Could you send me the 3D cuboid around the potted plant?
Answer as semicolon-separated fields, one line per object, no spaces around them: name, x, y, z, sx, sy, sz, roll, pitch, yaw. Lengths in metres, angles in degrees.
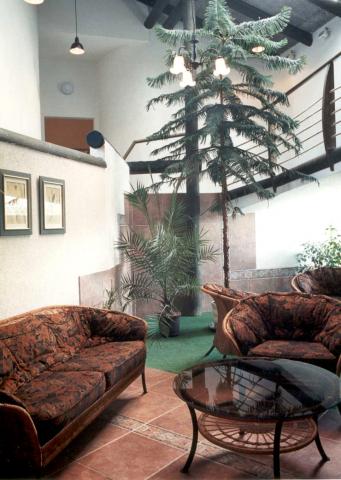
potted plant;-0.141;0.252;5.278;1.986;2.368;1.854;2;-3;-5
